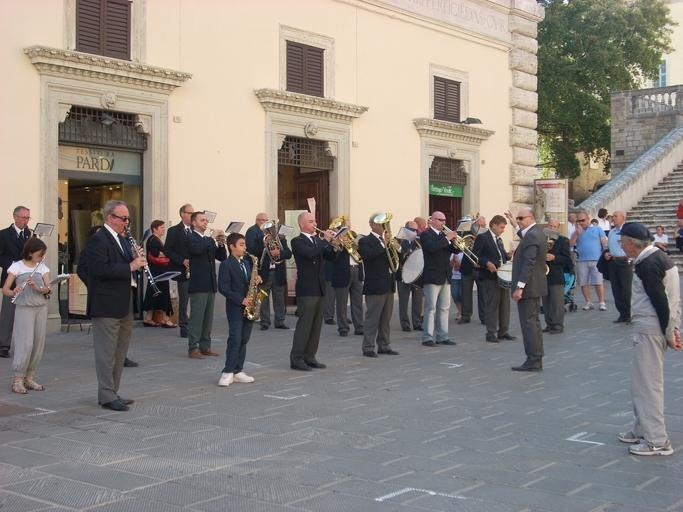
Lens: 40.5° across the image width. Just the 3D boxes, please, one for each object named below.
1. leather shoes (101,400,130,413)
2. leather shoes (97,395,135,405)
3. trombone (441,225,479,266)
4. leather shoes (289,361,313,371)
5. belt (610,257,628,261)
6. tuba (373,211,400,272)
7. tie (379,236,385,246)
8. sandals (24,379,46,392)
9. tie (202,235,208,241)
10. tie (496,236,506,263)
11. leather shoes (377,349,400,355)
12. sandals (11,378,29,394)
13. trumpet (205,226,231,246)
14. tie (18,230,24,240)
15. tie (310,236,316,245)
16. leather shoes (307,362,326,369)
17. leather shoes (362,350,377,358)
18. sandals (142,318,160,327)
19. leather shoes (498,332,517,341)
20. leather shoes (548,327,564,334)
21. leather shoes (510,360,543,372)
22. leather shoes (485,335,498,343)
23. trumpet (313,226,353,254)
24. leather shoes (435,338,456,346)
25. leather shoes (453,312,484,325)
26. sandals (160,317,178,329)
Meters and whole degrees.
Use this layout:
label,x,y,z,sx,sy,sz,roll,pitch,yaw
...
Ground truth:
label,x,y,z,sx,sy,sz,roll,pitch,yaw
leather shoes,-2.563,1.724,10.560,0.346,0.127,0.126,-1,0,12
leather shoes,-2.617,1.683,10.773,0.418,0.161,0.139,2,8,0
trombone,1.995,-0.180,15.428,0.994,0.290,0.166,41,-9,-23
leather shoes,-0.545,1.496,12.500,0.287,0.089,0.105,-2,3,6
belt,4.977,0.041,16.514,0.274,0.065,0.278,2,-1,22
tuba,0.689,-0.128,13.600,0.309,0.822,0.419,-22,-36,31
tie,0.604,-0.208,13.569,0.033,0.107,0.110,-13,-41,1
sandals,-3.766,1.597,11.387,0.234,0.160,0.102,-1,3,-9
tie,-2.038,-0.261,13.816,0.086,0.042,0.118,5,-5,-13
tie,2.688,-0.092,15.494,0.112,0.366,0.290,-20,-35,29
leather shoes,0.698,1.417,13.661,0.304,0.107,0.102,-2,-3,7
sandals,-3.907,1.571,11.215,0.212,0.160,0.201,-1,8,-8
trumpet,-1.878,-0.292,14.061,0.454,0.233,0.195,37,5,9
tie,-4.651,-0.303,13.459,0.056,0.093,0.023,-6,2,-6
tie,-0.394,-0.217,12.873,0.079,0.105,0.038,-1,-2,-5
leather shoes,-0.330,1.500,12.640,0.251,0.102,0.090,-2,0,-2
leather shoes,0.424,1.420,13.407,0.085,0.078,0.199,3,-9,-26
sandals,-3.369,1.204,16.410,0.295,0.112,0.106,0,0,-3
leather shoes,2.675,1.312,14.987,0.338,0.165,0.108,-2,4,-11
leather shoes,3.579,1.259,15.441,0.247,0.098,0.098,1,0,-18
leather shoes,2.532,1.494,12.604,0.393,0.262,0.165,0,-4,19
leather shoes,2.395,1.329,14.698,0.202,0.080,0.082,-4,-2,44
trumpet,-0.101,-0.258,13.396,0.579,0.318,0.300,21,42,35
leather shoes,1.642,1.357,14.514,0.328,0.126,0.110,-1,-1,4
leather shoes,2.377,1.158,17.059,0.613,0.256,0.190,-5,-4,-1
sandals,-3.045,1.185,16.297,0.374,0.255,0.121,0,0,2
